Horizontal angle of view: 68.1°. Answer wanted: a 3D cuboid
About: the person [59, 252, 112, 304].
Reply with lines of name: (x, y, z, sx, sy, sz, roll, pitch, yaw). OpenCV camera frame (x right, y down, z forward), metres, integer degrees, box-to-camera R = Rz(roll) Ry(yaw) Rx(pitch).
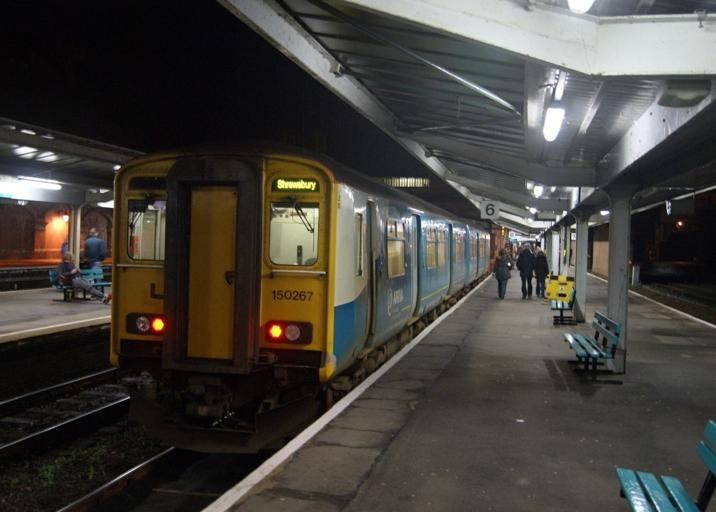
person: (-8.440, 0.617, 16.212, 1.384, 1.486, 0.973, 0, 4, -20)

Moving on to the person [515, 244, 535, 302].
person: (6.378, 0.553, 19.986, 0.627, 2.078, 1.551, 2, 4, 17)

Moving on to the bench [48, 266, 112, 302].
bench: (-8.632, 0.919, 16.653, 0.597, 0.784, 1.769, -23, -11, 31)

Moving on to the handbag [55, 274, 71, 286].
handbag: (-9.002, 0.754, 16.170, 0.401, 0.399, 0.452, 7, -19, -45)
